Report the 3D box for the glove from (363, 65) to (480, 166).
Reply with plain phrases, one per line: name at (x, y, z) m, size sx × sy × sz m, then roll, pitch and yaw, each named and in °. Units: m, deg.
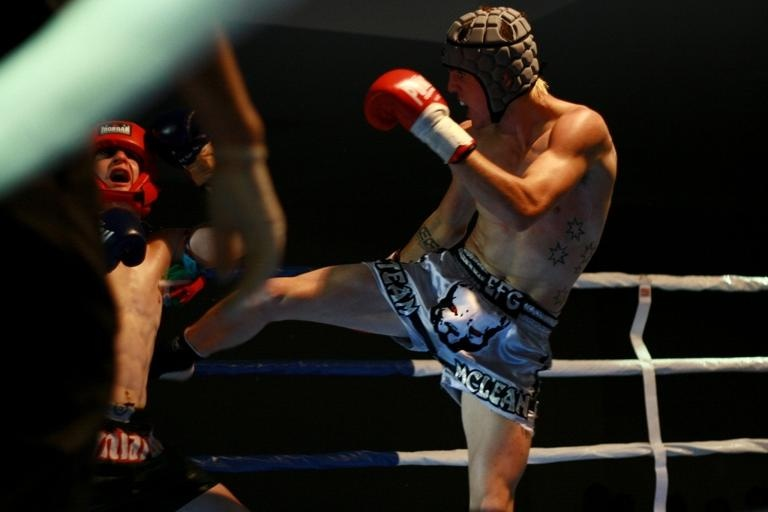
glove at (0.147, -0.543, 3.116) m, size 0.480 × 0.188 × 0.346 m, roll 32°, pitch 46°, yaw 20°
